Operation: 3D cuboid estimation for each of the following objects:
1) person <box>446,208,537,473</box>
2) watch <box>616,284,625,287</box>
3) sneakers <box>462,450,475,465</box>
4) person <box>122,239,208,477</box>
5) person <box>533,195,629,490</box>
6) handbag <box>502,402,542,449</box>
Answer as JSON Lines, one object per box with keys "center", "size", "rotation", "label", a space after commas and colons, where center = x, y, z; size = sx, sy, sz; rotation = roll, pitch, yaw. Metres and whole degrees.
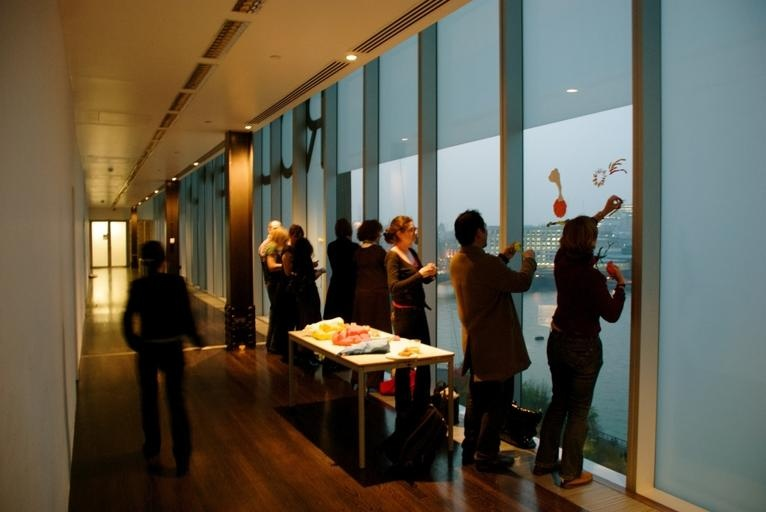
{"center": [0.897, 0.679, 4.778], "size": [0.692, 2.102, 0.386], "rotation": [0, 5, 13], "label": "person"}
{"center": [1.746, 0.216, 4.263], "size": [0.056, 0.031, 0.049], "rotation": [3, 8, 35], "label": "watch"}
{"center": [0.717, 1.714, 4.866], "size": [0.063, 0.090, 0.119], "rotation": [-1, 2, -15], "label": "sneakers"}
{"center": [-1.804, 0.826, 4.759], "size": [0.576, 1.920, 0.505], "rotation": [-3, 5, -20], "label": "person"}
{"center": [1.492, 0.679, 4.425], "size": [0.637, 2.180, 0.313], "rotation": [1, 6, 24], "label": "person"}
{"center": [1.201, 1.488, 5.034], "size": [0.414, 0.282, 0.140], "rotation": [15, 13, 31], "label": "handbag"}
